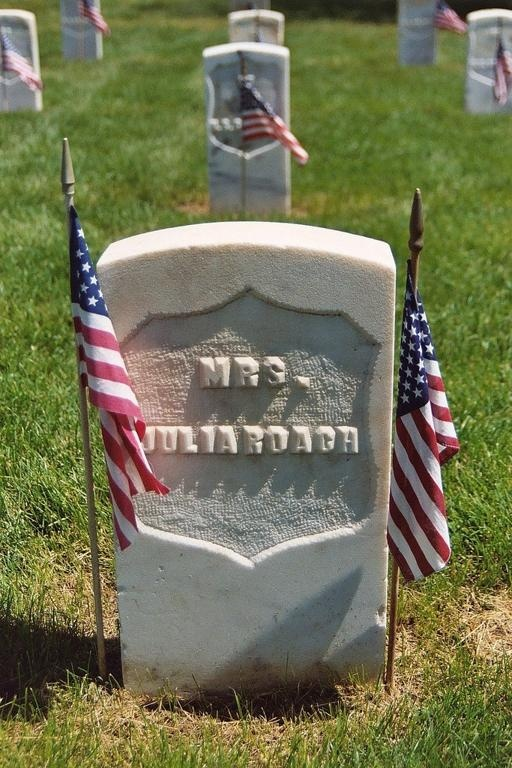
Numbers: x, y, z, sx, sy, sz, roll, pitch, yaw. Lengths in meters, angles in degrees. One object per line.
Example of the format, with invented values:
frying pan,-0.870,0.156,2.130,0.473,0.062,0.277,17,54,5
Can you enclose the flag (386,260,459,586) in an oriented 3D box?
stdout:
flag,0.782,0.240,6.162,0.296,1.350,0.483,4,25,7

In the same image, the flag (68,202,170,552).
flag,-0.636,0.033,6.101,0.306,1.495,0.611,-10,27,-22

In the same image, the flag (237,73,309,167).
flag,0.180,-2.282,11.810,0.179,0.616,1.033,10,0,42
